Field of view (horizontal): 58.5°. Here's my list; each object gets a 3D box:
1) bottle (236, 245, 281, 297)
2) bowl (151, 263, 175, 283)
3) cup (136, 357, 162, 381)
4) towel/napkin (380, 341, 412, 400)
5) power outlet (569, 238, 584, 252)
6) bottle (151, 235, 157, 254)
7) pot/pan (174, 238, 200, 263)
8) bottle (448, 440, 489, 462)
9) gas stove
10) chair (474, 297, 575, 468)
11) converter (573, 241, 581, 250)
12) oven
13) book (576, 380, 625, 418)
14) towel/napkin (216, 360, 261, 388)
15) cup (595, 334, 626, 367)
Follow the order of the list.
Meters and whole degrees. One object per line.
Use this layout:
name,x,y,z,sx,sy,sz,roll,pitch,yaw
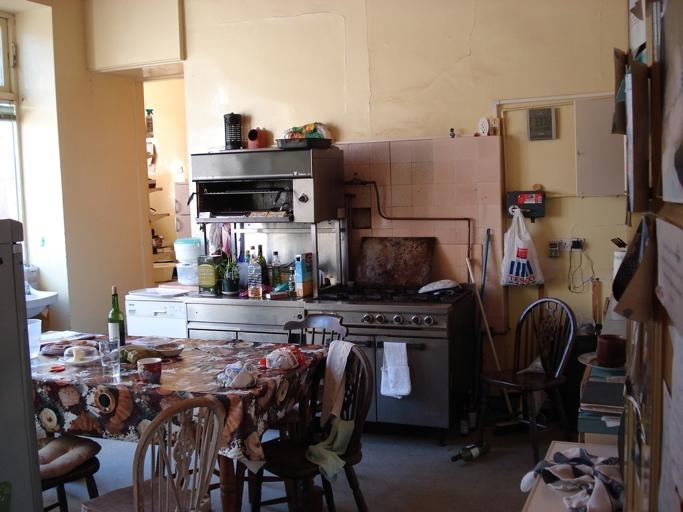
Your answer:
bottle,-0.678,0.107,4.895,0.350,0.376,0.494,-7,7,-34
bowl,-2.031,0.204,7.036,0.232,0.235,0.641,-5,6,-16
cup,-0.874,0.517,2.801,0.089,0.089,0.112,-1,-3,12
towel/napkin,0.359,0.751,4.071,0.196,0.345,0.136,-2,6,13
power outlet,1.697,-0.081,4.392,0.091,0.090,0.022,2,4,16
bottle,-2.317,-0.124,7.580,0.047,0.212,0.169,-4,6,-12
pot/pan,-1.314,-0.036,5.281,0.311,0.214,0.202,-2,6,11
bottle,0.826,1.267,3.956,0.294,0.091,0.085,-14,10,-41
gas stove,0.374,0.401,4.467,1.064,0.264,0.708,-1,7,24
chair,1.208,0.791,4.021,0.564,0.986,0.581,1,5,35
converter,1.691,-0.075,4.384,0.058,0.059,0.014,4,5,12
oven,-0.592,-0.548,4.819,1.117,0.576,0.453,-1,6,24
book,1.026,0.551,2.413,0.263,0.067,0.266,-3,6,14
towel/napkin,-0.469,0.521,2.712,0.140,0.092,0.108,-1,0,11
cup,1.246,0.433,2.816,0.102,0.122,0.165,-1,1,21
